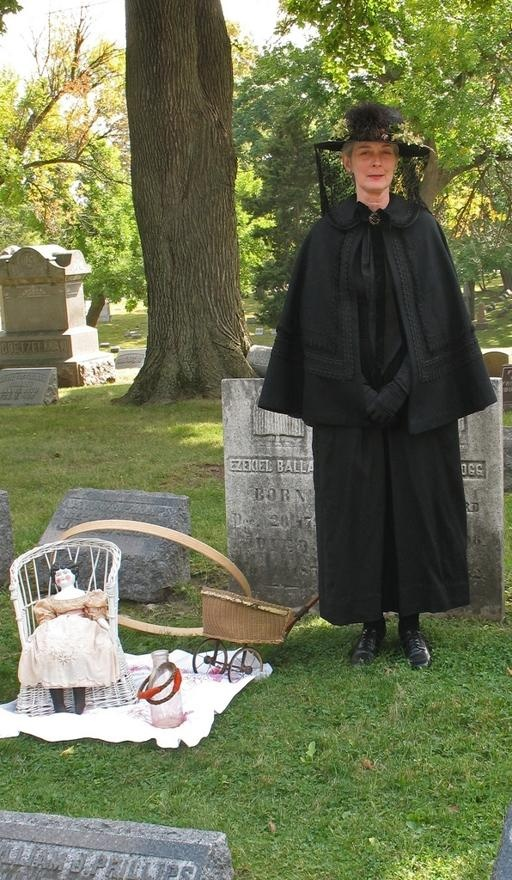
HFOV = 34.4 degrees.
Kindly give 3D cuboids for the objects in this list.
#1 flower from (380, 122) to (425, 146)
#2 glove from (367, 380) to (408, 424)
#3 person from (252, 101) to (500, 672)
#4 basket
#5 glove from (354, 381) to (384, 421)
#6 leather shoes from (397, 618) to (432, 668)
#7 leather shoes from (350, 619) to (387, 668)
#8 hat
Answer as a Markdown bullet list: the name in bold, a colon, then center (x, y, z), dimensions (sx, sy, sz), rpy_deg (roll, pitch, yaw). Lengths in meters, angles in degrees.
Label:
- **flower**: center (0.662, -1.398, 3.781), dimensions (0.219, 0.091, 0.068), rpy_deg (-10, 8, -40)
- **glove**: center (0.600, -0.173, 3.734), dimensions (0.135, 0.213, 0.065), rpy_deg (35, 0, 11)
- **person**: center (0.567, -0.362, 3.856), dimensions (1.014, 2.383, 0.495), rpy_deg (-7, 8, -1)
- **basket**: center (-0.019, 0.878, 4.126), dimensions (0.465, 0.160, 0.268), rpy_deg (14, -19, -37)
- **glove**: center (0.514, -0.169, 3.712), dimensions (0.050, 0.139, 0.156), rpy_deg (-2, 3, -36)
- **leather shoes**: center (0.739, 0.946, 3.868), dimensions (0.092, 0.090, 0.238), rpy_deg (-16, 12, 3)
- **leather shoes**: center (0.535, 0.975, 3.970), dimensions (0.100, 0.090, 0.287), rpy_deg (1, 8, 18)
- **hat**: center (0.541, -1.422, 3.814), dimensions (0.349, 0.121, 0.357), rpy_deg (-6, 10, -35)
